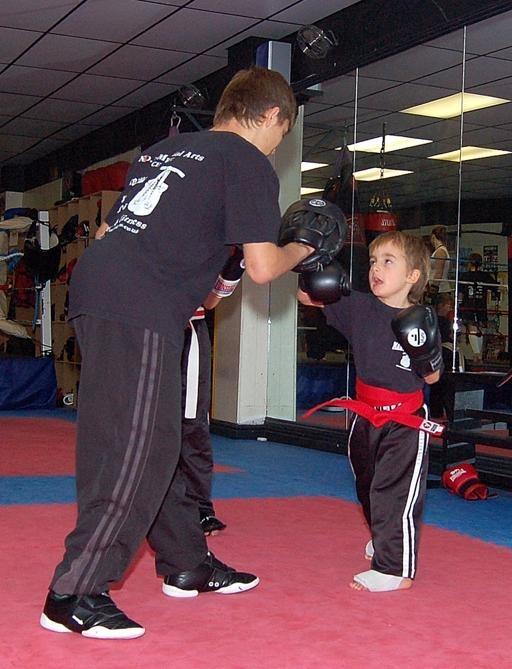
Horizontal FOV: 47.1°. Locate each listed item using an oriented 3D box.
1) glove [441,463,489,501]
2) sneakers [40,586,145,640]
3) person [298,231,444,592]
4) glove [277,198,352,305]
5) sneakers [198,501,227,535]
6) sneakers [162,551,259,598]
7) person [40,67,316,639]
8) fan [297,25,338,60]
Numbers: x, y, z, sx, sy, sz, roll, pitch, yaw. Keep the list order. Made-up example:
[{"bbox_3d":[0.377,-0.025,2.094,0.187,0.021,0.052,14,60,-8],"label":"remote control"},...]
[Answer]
[{"bbox_3d":[1.104,0.788,3.149,0.156,0.074,0.220,-17,17,-6],"label":"glove"},{"bbox_3d":[-0.348,0.583,1.263,0.252,0.097,0.090,3,-10,9],"label":"sneakers"},{"bbox_3d":[0.319,0.230,1.844,0.568,1.070,0.517,3,9,24],"label":"person"},{"bbox_3d":[0.151,-0.210,1.462,0.222,0.252,0.124,8,-1,13],"label":"glove"},{"bbox_3d":[-0.159,0.687,2.209,0.090,0.100,0.242,-21,-12,-9],"label":"sneakers"},{"bbox_3d":[-0.094,0.639,1.631,0.332,0.122,0.102,1,-4,-20],"label":"sneakers"},{"bbox_3d":[-0.159,0.014,1.314,0.492,1.282,0.523,7,-7,-30],"label":"person"},{"bbox_3d":[0.416,-2.164,4.325,0.242,0.202,0.266,7,-7,-37],"label":"fan"}]
